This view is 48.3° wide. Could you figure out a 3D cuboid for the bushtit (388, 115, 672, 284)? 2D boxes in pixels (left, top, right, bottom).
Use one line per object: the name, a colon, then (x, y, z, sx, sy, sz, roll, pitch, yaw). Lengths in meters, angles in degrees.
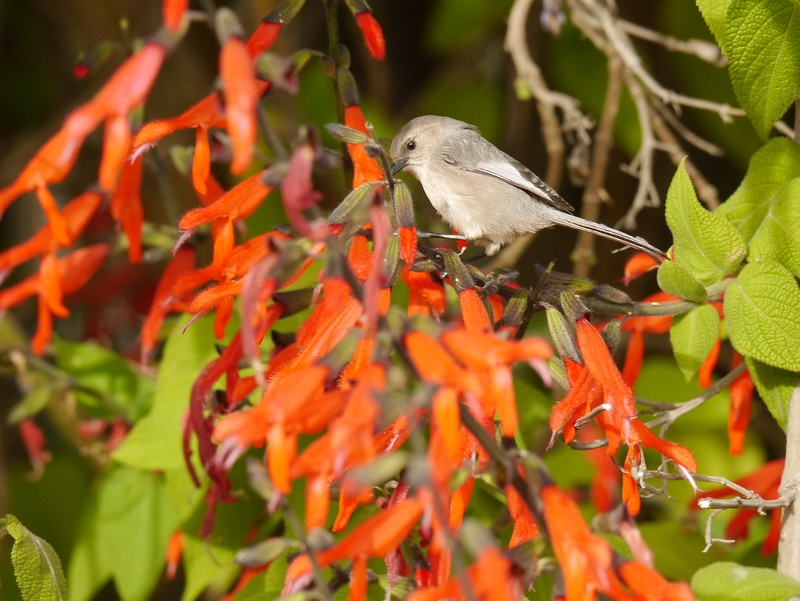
bushtit: (0.295, -0.240, 2.184, 0.686, 0.209, 0.340, 11, 74, 8)
